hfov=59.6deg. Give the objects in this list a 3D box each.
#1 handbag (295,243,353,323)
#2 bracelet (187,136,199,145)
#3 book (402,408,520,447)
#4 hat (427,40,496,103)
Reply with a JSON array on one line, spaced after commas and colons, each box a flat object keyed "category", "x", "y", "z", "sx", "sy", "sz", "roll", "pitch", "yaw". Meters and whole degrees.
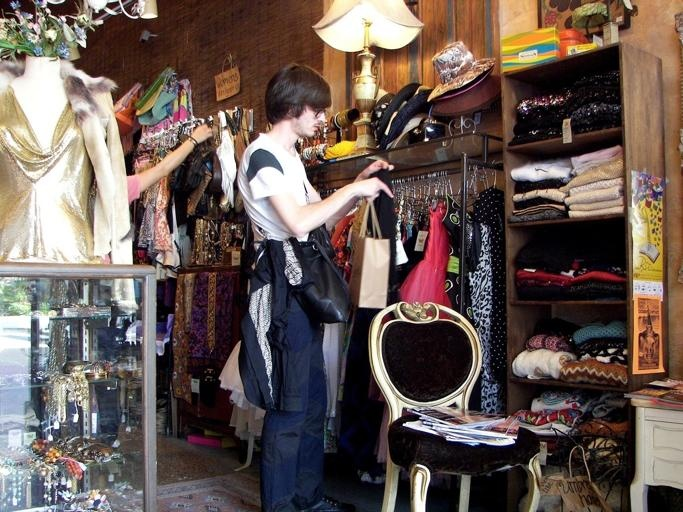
[{"category": "handbag", "x": -0.087, "y": 0.129, "z": 2.634, "sx": 0.166, "sy": 0.352, "sz": 0.330, "roll": -16, "pitch": -13, "yaw": 16}, {"category": "bracelet", "x": -0.697, "y": -0.542, "z": 2.801, "sx": 0.010, "sy": 0.045, "sz": 0.042, "roll": -36, "pitch": 32, "yaw": -21}, {"category": "book", "x": 0.471, "y": 0.666, "z": 2.353, "sx": 0.447, "sy": 0.116, "sz": 0.323, "roll": -3, "pitch": -8, "yaw": 13}, {"category": "hat", "x": 0.668, "y": -0.989, "z": 3.317, "sx": 0.322, "sy": 0.152, "sz": 0.322, "roll": -38, "pitch": 19, "yaw": -9}]
